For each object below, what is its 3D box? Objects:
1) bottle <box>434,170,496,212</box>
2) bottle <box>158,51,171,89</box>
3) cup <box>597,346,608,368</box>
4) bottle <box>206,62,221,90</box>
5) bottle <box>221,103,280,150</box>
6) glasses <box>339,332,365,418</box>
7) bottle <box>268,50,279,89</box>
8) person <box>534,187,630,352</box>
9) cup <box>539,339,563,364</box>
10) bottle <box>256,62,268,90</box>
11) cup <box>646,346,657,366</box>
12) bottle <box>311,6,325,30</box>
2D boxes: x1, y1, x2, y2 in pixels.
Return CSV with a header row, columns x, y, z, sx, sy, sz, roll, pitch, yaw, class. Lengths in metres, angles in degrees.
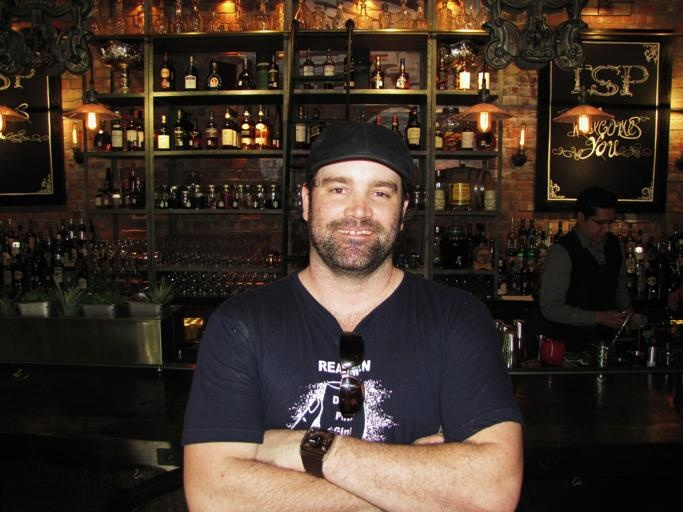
x,y,z,sx,sy,sz,roll,pitch,yaw,class
0.996,-0.531,6.318,0.514,0.380,0.347,6,-35,19,bottle
-1.426,-1.506,6.392,0.093,0.294,0.179,0,2,-8,bottle
1.393,0.523,4.185,0.059,0.112,0.034,1,2,16,cup
-1.028,-1.470,6.359,0.102,0.247,0.205,0,2,-10,bottle
-0.737,-1.060,6.414,0.487,0.430,0.157,0,4,0,bottle
0.038,0.470,3.114,0.094,0.332,0.051,1,2,-3,glasses
-0.555,-1.498,6.303,0.077,0.303,0.130,1,2,5,bottle
1.623,0.072,5.137,0.629,1.060,0.500,1,2,4,person
1.137,0.525,4.339,0.136,0.139,0.135,0,-3,0,cup
-0.644,-1.465,6.340,0.101,0.231,0.182,0,2,-6,bottle
1.654,0.530,4.193,0.054,0.094,0.113,2,2,22,cup
-0.188,-1.908,6.276,0.103,0.177,0.150,1,2,3,bottle
